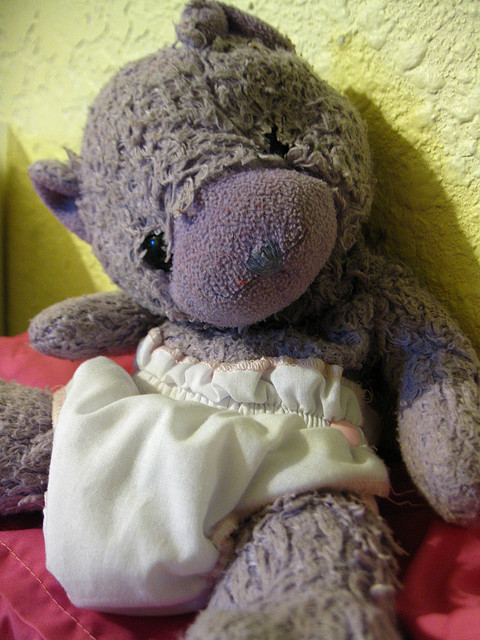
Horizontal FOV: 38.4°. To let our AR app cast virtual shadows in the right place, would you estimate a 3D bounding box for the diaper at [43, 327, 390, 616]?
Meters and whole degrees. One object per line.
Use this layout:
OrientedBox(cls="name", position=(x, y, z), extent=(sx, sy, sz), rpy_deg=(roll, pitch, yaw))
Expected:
OrientedBox(cls="diaper", position=(-0.022, 0.132, 0.644), extent=(0.318, 0.180, 0.280), rpy_deg=(6, 73, 7))
